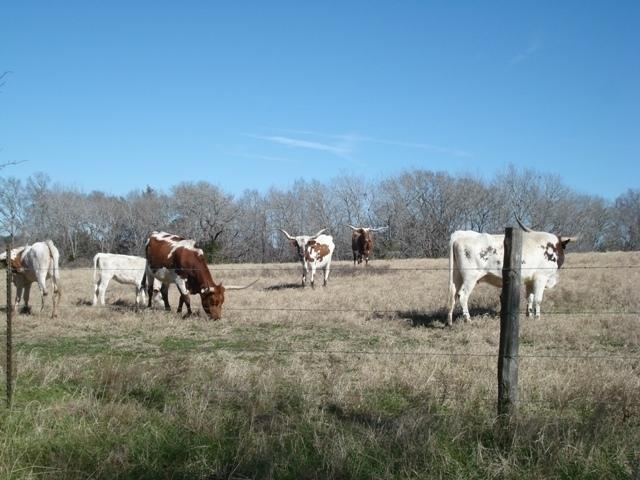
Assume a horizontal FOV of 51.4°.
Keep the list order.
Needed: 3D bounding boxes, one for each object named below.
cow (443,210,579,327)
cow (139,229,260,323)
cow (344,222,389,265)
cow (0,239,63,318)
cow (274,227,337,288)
[{"bbox_3d":[5.162,0.766,17.199,3.311,2.903,1.487,-1,-4,4],"label":"cow"},{"bbox_3d":[-3.734,1.083,18.423,3.434,2.324,1.159,11,5,38],"label":"cow"},{"bbox_3d":[2.415,-0.022,33.240,1.384,1.610,2.773,-2,5,5],"label":"cow"},{"bbox_3d":[-7.661,0.980,18.038,0.948,2.030,2.774,-11,16,-42],"label":"cow"},{"bbox_3d":[-0.264,0.698,25.614,1.533,2.426,2.981,4,2,21],"label":"cow"}]
